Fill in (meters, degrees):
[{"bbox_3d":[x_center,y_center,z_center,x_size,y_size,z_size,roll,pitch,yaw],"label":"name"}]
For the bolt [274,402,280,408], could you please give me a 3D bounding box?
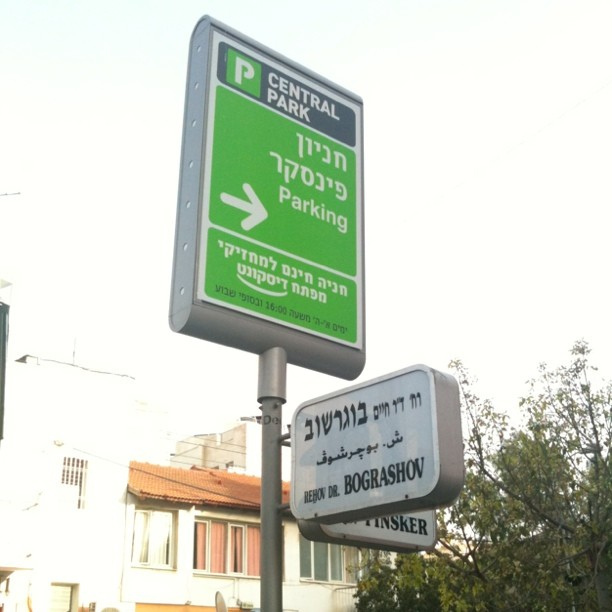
[{"bbox_3d":[-0.214,0.704,5.865,0.038,0.041,0.010,7,-17,-20],"label":"bolt"}]
